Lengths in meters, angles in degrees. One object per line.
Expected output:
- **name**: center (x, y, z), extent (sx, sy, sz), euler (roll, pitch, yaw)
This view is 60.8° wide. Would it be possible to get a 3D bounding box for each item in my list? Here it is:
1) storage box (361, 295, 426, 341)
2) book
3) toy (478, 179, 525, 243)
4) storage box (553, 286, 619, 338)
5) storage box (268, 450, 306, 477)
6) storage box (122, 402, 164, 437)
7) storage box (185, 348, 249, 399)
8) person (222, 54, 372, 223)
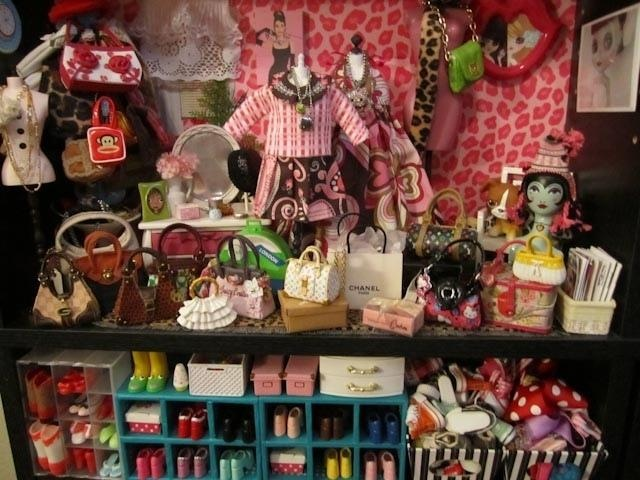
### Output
- **storage box**: center (0.378, 0.399, 2.823), extent (0.301, 0.178, 0.165), euler (1, 2, 18)
- **book**: center (1.364, 0.184, 2.723), extent (0.217, 0.284, 0.261), euler (-5, 9, -44)
- **toy**: center (1.028, -0.166, 3.198), extent (0.255, 0.489, 0.356), euler (-1, 0, 3)
- **storage box**: center (1.333, 0.384, 2.791), extent (0.148, 0.121, 0.247), euler (0, 7, 2)
- **storage box**: center (-0.175, 1.210, 2.954), extent (0.169, 0.120, 0.124), euler (1, 9, 4)
- **storage box**: center (-0.944, 0.972, 2.941), extent (0.158, 0.113, 0.166), euler (1, 13, -4)
- **storage box**: center (-0.544, 0.729, 2.941), extent (0.247, 0.172, 0.263), euler (1, 3, -3)
- **person**: center (-0.135, -0.543, 2.968), extent (0.792, 0.869, 0.266), euler (0, 20, -1)
